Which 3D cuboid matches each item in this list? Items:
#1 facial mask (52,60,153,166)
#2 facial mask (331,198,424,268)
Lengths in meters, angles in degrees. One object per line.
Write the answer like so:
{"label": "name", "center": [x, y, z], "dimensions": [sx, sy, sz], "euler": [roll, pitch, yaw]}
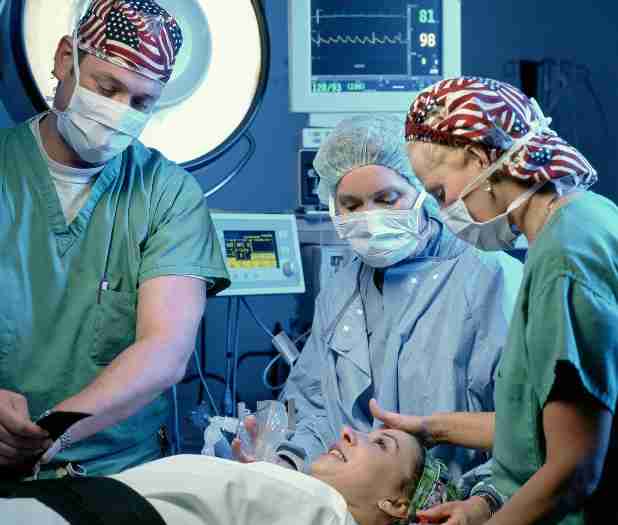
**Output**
{"label": "facial mask", "center": [-0.578, -0.358, 2.277], "dimensions": [0.199, 0.245, 0.230], "euler": [-41, -22, 15]}
{"label": "facial mask", "center": [0.205, -0.110, 2.565], "dimensions": [0.246, 0.251, 0.199], "euler": [-1, 11, -32]}
